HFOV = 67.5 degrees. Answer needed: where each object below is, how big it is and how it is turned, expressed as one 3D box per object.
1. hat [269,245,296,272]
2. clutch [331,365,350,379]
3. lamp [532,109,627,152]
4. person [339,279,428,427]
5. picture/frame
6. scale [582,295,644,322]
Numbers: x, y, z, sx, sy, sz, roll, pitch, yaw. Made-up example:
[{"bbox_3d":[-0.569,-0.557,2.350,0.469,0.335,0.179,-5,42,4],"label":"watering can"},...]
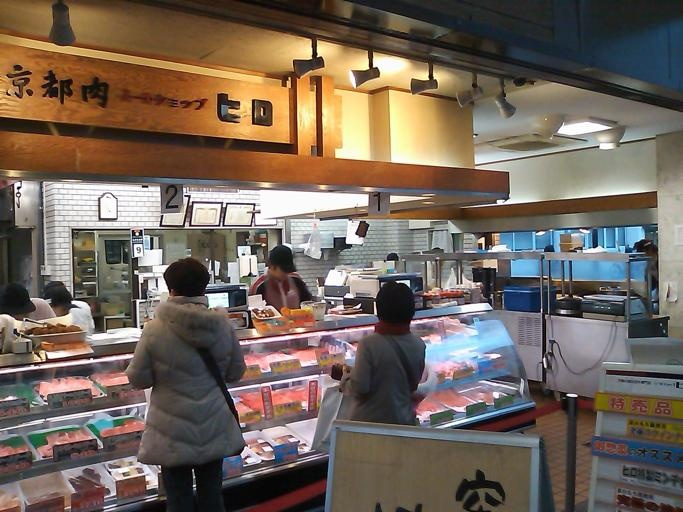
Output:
[{"bbox_3d":[-0.701,0.007,5.976,0.260,0.340,0.330,-3,41,-9],"label":"hat"},{"bbox_3d":[-0.003,0.847,3.795,0.122,0.080,0.069,6,10,39],"label":"clutch"},{"bbox_3d":[3.355,-1.669,7.075,1.029,0.260,2.119,0,3,24],"label":"lamp"},{"bbox_3d":[0.292,0.668,3.527,0.571,0.969,0.237,-2,3,2],"label":"person"},{"bbox_3d":[-3.334,-0.995,10.309,2.838,0.797,0.555,-2,3,-23],"label":"picture/frame"},{"bbox_3d":[3.526,0.615,6.639,0.443,0.207,0.443,2,-1,-34],"label":"scale"}]
